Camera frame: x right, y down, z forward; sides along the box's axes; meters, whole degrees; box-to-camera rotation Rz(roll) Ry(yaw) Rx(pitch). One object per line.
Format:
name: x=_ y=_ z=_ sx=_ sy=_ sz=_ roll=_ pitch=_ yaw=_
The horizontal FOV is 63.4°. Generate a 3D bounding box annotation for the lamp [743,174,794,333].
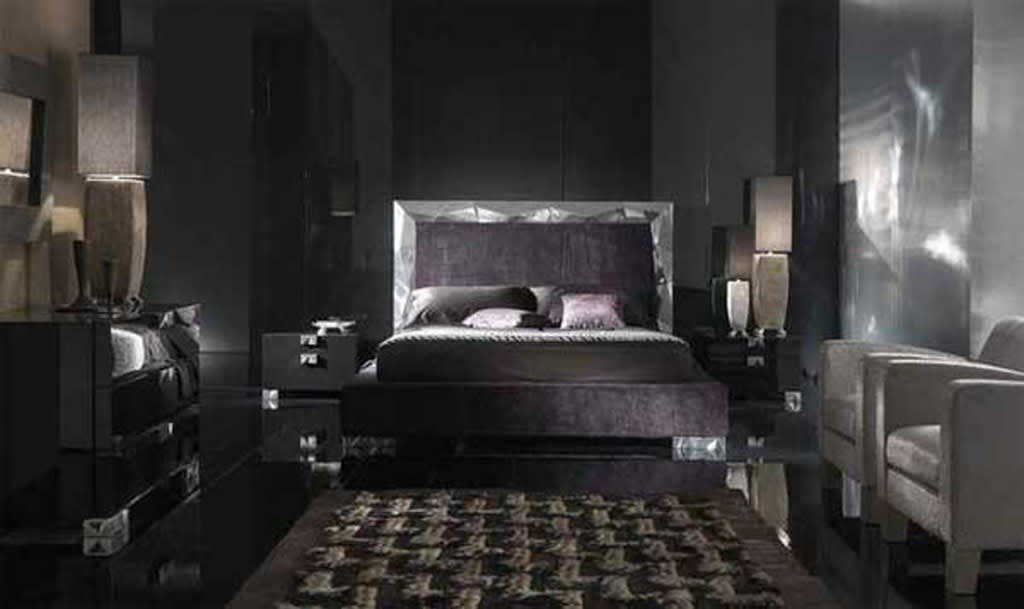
lamp: x=2.387 y=-0.466 z=7.663 sx=0.394 sy=1.434 sz=0.297 roll=-1 pitch=6 yaw=10

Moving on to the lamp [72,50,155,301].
lamp: x=-2.798 y=-0.908 z=5.886 sx=0.502 sy=1.698 sz=0.480 roll=-5 pitch=6 yaw=-26

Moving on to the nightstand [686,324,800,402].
nightstand: x=2.148 y=0.515 z=7.471 sx=0.697 sy=0.402 sz=0.687 roll=-1 pitch=1 yaw=2

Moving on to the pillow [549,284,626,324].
pillow: x=0.682 y=0.015 z=7.180 sx=0.411 sy=0.123 sz=0.390 roll=-2 pitch=33 yaw=5

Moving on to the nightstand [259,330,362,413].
nightstand: x=-1.803 y=0.521 z=7.567 sx=1.041 sy=0.707 sz=0.685 roll=0 pitch=4 yaw=-1

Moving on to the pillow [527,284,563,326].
pillow: x=0.308 y=-0.016 z=7.515 sx=0.338 sy=0.303 sz=0.099 roll=-3 pitch=-17 yaw=40

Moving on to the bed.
bed: x=0.238 y=0.050 z=7.275 sx=2.453 sy=1.689 sz=2.480 roll=0 pitch=-1 yaw=2

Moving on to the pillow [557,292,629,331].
pillow: x=0.692 y=0.077 z=7.180 sx=0.401 sy=0.108 sz=0.384 roll=0 pitch=26 yaw=3
